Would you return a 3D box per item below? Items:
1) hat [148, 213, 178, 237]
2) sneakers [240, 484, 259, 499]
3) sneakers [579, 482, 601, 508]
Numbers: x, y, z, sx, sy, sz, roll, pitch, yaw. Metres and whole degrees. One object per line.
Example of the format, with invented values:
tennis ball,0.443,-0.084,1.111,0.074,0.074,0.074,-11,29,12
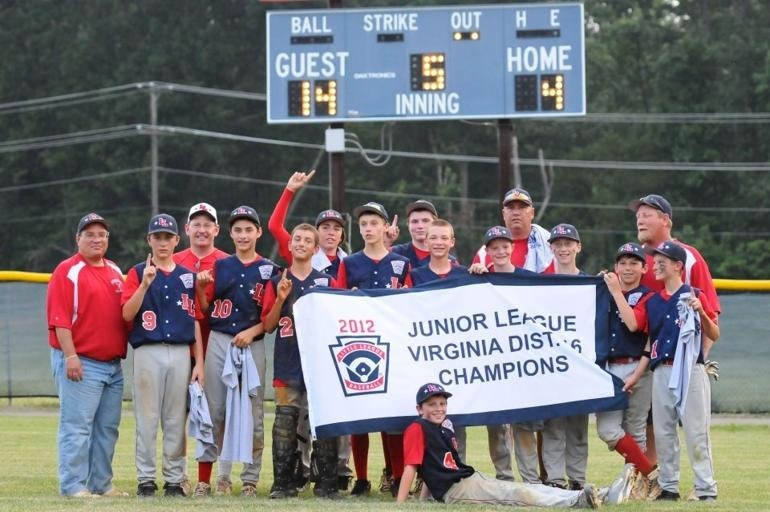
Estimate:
hat,-4.925,-0.710,40.075,0.474,0.353,0.622,1,-1,-2
sneakers,-2.991,5.288,39.642,0.337,0.284,0.265,-2,0,-4
sneakers,4.575,5.341,38.814,0.260,0.682,0.294,-3,1,4
